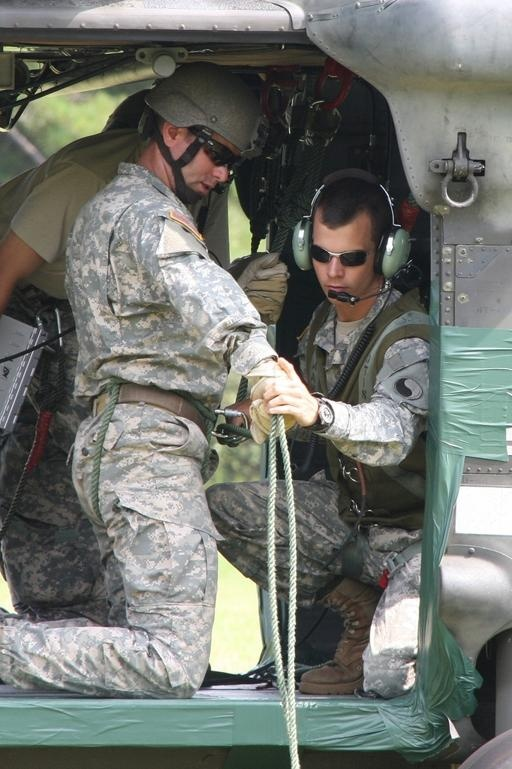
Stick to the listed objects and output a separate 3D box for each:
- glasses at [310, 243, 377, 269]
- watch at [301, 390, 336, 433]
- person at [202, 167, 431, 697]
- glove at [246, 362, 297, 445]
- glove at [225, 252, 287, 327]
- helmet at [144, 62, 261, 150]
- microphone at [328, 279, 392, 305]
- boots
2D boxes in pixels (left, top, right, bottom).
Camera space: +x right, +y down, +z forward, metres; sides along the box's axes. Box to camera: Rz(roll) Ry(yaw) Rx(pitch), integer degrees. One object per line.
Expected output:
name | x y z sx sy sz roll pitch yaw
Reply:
glasses | 0.248 -0.401 2.792 0.180 0.073 0.057 5 7 27
watch | 0.159 0.079 2.228 0.069 0.096 0.107 -5 11 -33
person | 0.235 0.232 2.806 0.962 1.643 1.072 -2 8 -2
glove | 0.018 0.047 2.133 0.084 0.213 0.227 2 6 -6
glove | 0.026 -0.362 3.333 0.228 0.280 0.216 15 22 42
helmet | -0.127 -0.813 2.694 0.301 0.169 0.295 36 5 4
microphone | 0.310 -0.287 2.796 0.144 0.029 0.097 -8 -8 9
boots | 0.184 0.823 2.876 0.436 0.368 0.194 1 -10 -4
